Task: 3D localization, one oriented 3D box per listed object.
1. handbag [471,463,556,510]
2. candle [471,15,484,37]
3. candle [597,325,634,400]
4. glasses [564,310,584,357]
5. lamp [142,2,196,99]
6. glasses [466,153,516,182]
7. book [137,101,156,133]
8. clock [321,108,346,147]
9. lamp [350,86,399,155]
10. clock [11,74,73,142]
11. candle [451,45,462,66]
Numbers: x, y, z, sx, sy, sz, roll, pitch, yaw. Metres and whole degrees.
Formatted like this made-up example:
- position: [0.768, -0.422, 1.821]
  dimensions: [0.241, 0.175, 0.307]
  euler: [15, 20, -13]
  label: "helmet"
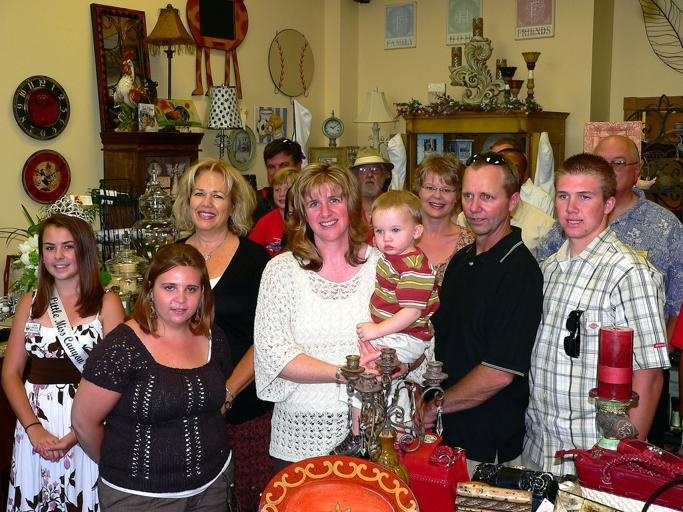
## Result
- position: [0.508, 0.659, 1.740]
  dimensions: [0.180, 0.075, 0.103]
  euler: [10, 7, 27]
  label: "handbag"
- position: [1.608, -2.669, 6.912]
  dimensions: [0.103, 0.255, 0.218]
  euler: [3, 7, 17]
  label: "candle"
- position: [0.752, 0.285, 1.597]
  dimensions: [0.105, 0.190, 0.086]
  euler: [1, 6, 5]
  label: "candle"
- position: [0.883, 0.296, 2.231]
  dimensions: [0.060, 0.186, 0.057]
  euler: [5, 7, 32]
  label: "glasses"
- position: [-1.703, -2.015, 5.865]
  dimensions: [0.424, 0.842, 0.886]
  euler: [-1, 7, -16]
  label: "lamp"
- position: [0.653, -0.403, 2.537]
  dimensions: [0.137, 0.147, 0.045]
  euler: [8, 51, 30]
  label: "glasses"
- position: [-1.752, -1.246, 5.334]
  dimensions: [0.176, 0.262, 0.189]
  euler: [-3, 8, -31]
  label: "book"
- position: [-0.118, -1.641, 7.715]
  dimensions: [0.281, 0.500, 0.110]
  euler: [1, -10, 1]
  label: "clock"
- position: [0.481, -1.775, 8.095]
  dimensions: [0.507, 0.966, 0.521]
  euler: [-5, 18, -13]
  label: "lamp"
- position: [-2.674, -1.303, 5.183]
  dimensions: [0.039, 0.543, 0.520]
  euler: [1, -17, 31]
  label: "clock"
- position: [1.382, -2.369, 7.048]
  dimensions: [0.091, 0.252, 0.187]
  euler: [3, 7, 19]
  label: "candle"
